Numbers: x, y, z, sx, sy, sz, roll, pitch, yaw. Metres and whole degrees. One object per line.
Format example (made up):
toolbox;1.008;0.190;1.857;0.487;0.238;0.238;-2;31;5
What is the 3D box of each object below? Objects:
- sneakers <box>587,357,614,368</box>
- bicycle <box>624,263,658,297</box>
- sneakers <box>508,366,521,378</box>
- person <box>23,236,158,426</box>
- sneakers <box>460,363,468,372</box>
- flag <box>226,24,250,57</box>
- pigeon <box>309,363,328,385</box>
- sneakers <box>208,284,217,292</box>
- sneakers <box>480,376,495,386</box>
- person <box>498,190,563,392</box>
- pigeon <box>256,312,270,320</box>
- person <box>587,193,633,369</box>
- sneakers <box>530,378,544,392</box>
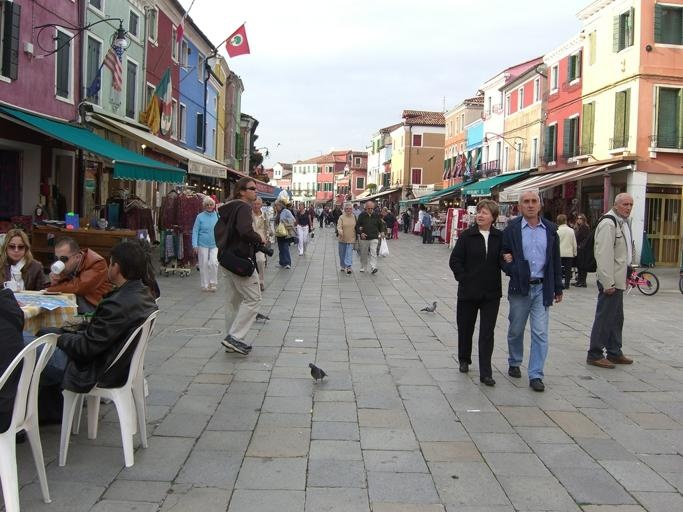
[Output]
sneakers;3.302;1.349;7.828;0.274;0.115;0.130;0;1;16
bicycle;7.014;0.578;14.416;1.055;0.692;0.674;10;-1;38
sneakers;2.042;1.378;7.253;0.164;0.167;0.083;-1;4;-9
person;-2.029;0.701;5.117;0.895;1.653;0.897;-1;5;-27
sneakers;1.465;1.342;7.371;0.069;0.080;0.194;-1;-8;9
flag;-3.769;-7.964;22.299;0.790;1.421;1.649;1;5;-11
pigeon;-0.256;1.283;6.767;0.174;0.212;0.363;2;5;1
sneakers;-2.750;0.672;13.073;0.136;0.138;0.141;1;3;11
sneakers;1.647;1.387;6.864;0.182;0.095;0.181;2;5;1
person;2.151;0.347;7.017;0.653;2.184;0.669;4;5;29
pigeon;-1.314;1.014;10.307;0.110;0.161;0.378;-5;-7;23
person;3.531;0.287;7.948;0.515;2.220;0.723;4;6;33
sneakers;2.141;1.418;6.718;0.074;0.085;0.208;0;-7;2
